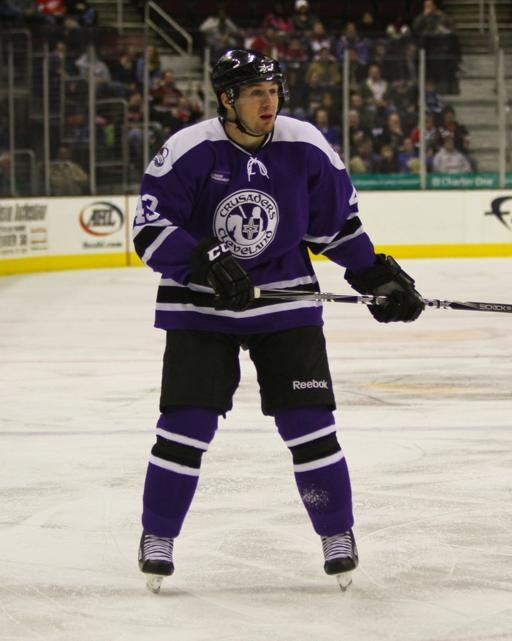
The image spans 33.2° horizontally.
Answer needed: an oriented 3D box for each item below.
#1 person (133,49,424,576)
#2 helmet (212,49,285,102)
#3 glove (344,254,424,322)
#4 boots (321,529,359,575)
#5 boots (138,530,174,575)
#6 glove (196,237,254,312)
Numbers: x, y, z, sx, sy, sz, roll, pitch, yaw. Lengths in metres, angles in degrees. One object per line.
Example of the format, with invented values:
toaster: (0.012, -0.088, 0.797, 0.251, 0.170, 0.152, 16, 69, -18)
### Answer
person: (0.055, -0.028, 1.970, 0.713, 1.182, 0.431, -3, 10, -15)
helmet: (-0.019, -0.560, 1.994, 0.158, 0.120, 0.108, -6, 5, 17)
glove: (0.335, -0.075, 2.181, 0.172, 0.091, 0.197, -16, 58, -49)
boots: (0.189, 0.524, 1.922, 0.076, 0.072, 0.116, 0, 8, 3)
boots: (-0.227, 0.531, 1.947, 0.078, 0.070, 0.130, -2, 8, -8)
glove: (-0.070, -0.098, 1.840, 0.127, 0.145, 0.043, -1, 10, 0)
